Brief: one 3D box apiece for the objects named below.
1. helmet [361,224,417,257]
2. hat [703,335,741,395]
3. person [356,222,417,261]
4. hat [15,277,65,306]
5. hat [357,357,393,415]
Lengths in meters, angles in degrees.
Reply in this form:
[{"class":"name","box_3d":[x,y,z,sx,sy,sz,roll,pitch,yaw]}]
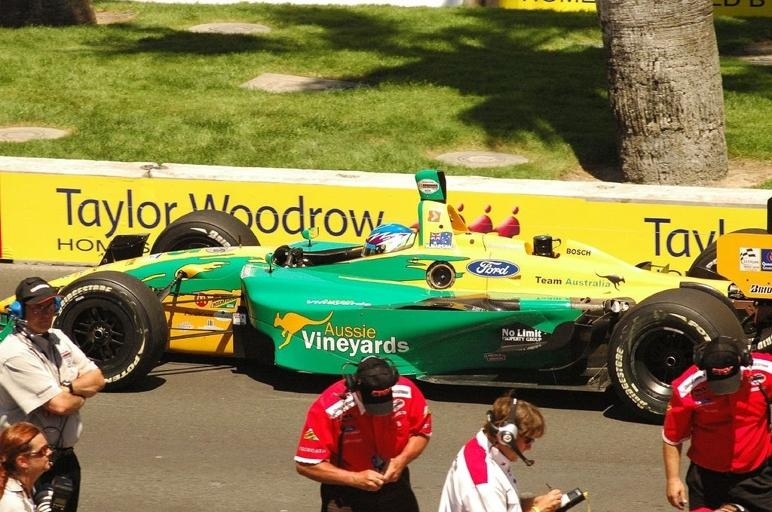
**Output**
[{"class":"helmet","box_3d":[0.019,-0.214,16.800,0.706,0.248,0.409,-6,2,-21]},{"class":"hat","box_3d":[3.465,1.133,12.946,0.475,0.529,0.314,-6,-15,13]},{"class":"person","box_3d":[0.102,-0.212,16.980,0.968,0.353,0.549,-5,6,9]},{"class":"hat","box_3d":[-3.757,0.357,13.438,0.412,0.240,0.447,-4,15,-7]},{"class":"hat","box_3d":[-0.094,1.330,12.801,0.425,0.559,0.304,-3,18,-1]}]
